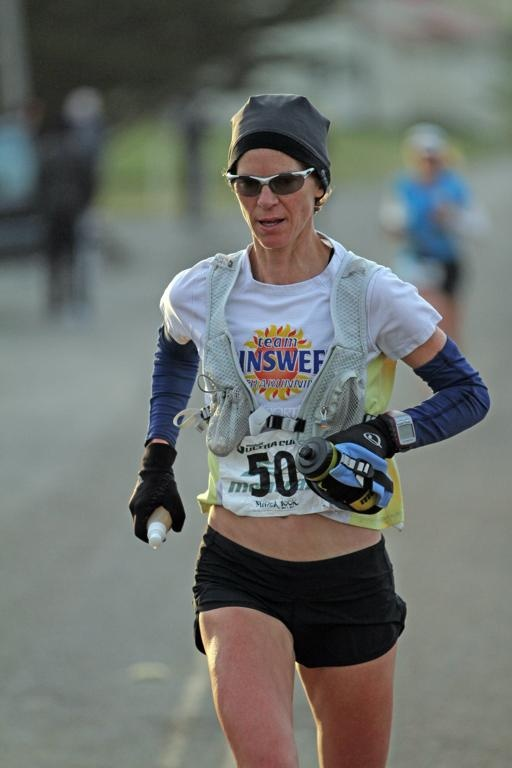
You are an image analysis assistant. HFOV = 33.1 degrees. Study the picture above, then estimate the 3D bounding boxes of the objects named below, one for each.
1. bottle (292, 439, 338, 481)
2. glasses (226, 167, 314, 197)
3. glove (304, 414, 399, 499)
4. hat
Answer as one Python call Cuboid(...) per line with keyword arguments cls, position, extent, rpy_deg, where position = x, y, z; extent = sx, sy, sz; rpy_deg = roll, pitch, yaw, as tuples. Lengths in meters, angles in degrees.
Cuboid(cls="bottle", position=(0.126, 0.157, 1.757), extent=(0.085, 0.079, 0.053), rpy_deg=(10, -8, 37))
Cuboid(cls="glasses", position=(0.032, -0.448, 1.904), extent=(0.193, 0.058, 0.108), rpy_deg=(0, 18, -1))
Cuboid(cls="glove", position=(0.197, 0.156, 1.772), extent=(0.207, 0.083, 0.139), rpy_deg=(15, 56, 20))
Cuboid(cls="hat", position=(0.070, -0.545, 1.965), extent=(0.210, 0.190, 0.218), rpy_deg=(4, -8, 9))
